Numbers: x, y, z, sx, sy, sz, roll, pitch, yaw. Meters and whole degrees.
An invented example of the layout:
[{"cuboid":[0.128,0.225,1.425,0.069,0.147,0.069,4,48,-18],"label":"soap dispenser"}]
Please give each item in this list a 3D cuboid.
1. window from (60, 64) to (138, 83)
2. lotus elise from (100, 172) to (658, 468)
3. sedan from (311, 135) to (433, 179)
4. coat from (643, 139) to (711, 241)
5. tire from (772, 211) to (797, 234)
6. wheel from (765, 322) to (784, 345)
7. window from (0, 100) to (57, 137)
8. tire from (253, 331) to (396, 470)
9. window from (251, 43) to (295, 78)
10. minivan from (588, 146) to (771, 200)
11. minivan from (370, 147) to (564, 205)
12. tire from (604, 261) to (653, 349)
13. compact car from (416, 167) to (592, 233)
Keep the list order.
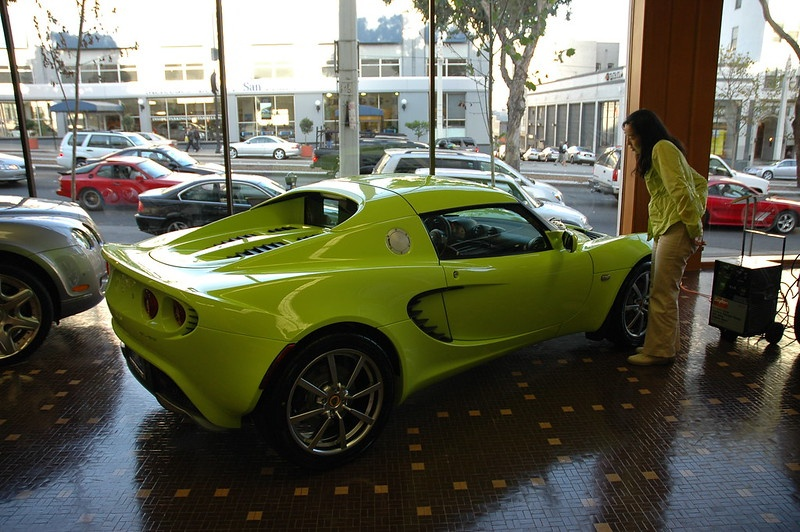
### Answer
[{"cuboid":[-4.569,-3.026,7.799,0.797,0.277,0.203,-8,17,-23],"label":"window"},{"cuboid":[0.088,0.164,4.468,4.411,1.350,2.163,-10,17,-27],"label":"lotus elise"},{"cuboid":[-0.646,-2.036,9.678,1.793,0.518,0.988,-4,22,-3],"label":"sedan"},{"cuboid":[2.643,-0.713,4.804,0.547,0.984,0.329,8,19,31],"label":"coat"},{"cuboid":[6.018,-0.688,7.775,0.303,0.300,0.115,42,11,-1],"label":"tire"},{"cuboid":[4.102,0.745,5.459,0.225,0.230,0.062,-6,17,-17],"label":"wheel"},{"cuboid":[-5.661,-2.254,7.523,0.061,0.479,0.739,14,19,21],"label":"window"},{"cuboid":[-0.561,0.953,3.572,0.858,0.813,0.291,31,-11,-31],"label":"tire"},{"cuboid":[-2.135,-3.425,8.195,0.634,0.429,0.063,-3,17,-11],"label":"window"},{"cuboid":[4.625,-1.637,8.098,2.204,0.688,0.951,-5,18,-5],"label":"minivan"},{"cuboid":[1.248,-1.354,9.215,3.323,1.088,1.449,-1,25,0],"label":"minivan"},{"cuboid":[2.487,0.412,5.379,0.976,0.902,0.299,-11,13,-42],"label":"tire"},{"cuboid":[2.016,-1.196,8.352,3.121,0.980,1.318,4,26,0],"label":"compact car"}]
